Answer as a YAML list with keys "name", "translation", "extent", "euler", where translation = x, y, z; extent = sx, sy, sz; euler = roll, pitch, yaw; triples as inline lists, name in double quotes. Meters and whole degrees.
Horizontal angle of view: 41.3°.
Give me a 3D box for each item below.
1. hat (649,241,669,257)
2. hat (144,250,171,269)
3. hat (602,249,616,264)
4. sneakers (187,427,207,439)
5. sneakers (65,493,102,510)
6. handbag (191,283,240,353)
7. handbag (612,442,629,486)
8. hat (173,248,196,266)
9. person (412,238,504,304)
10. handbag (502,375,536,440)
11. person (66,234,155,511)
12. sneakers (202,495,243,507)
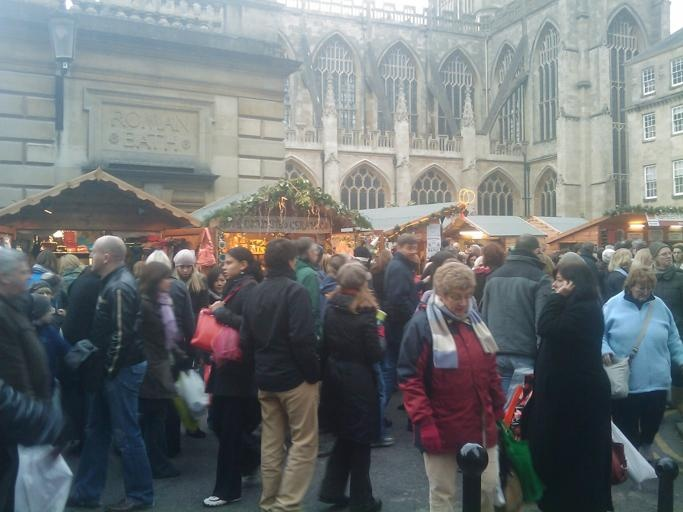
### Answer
- name: "hat"
  translation: [4.802, -0.107, 13.773]
  extent: [0.189, 0.223, 0.252]
  euler: [-9, -4, -42]
- name: "hat"
  translation: [-2.561, 0.027, 12.596]
  extent: [0.281, 0.268, 0.291]
  euler: [0, 1, 33]
- name: "hat"
  translation: [4.721, -0.026, 16.136]
  extent: [0.265, 0.326, 0.373]
  euler: [3, 9, 12]
- name: "sneakers"
  translation: [-2.154, 2.636, 13.444]
  extent: [0.317, 0.140, 0.172]
  euler: [-2, -3, 17]
- name: "sneakers"
  translation: [-3.267, 3.131, 11.564]
  extent: [0.454, 0.203, 0.157]
  euler: [1, 0, -7]
- name: "handbag"
  translation: [-1.785, 0.798, 11.993]
  extent: [0.220, 0.799, 0.603]
  euler: [33, -21, 3]
- name: "handbag"
  translation: [3.384, 2.513, 11.080]
  extent: [0.147, 0.528, 0.387]
  euler: [-2, 0, 22]
- name: "hat"
  translation: [-2.361, 0.023, 13.578]
  extent: [0.221, 0.185, 0.319]
  euler: [1, -7, -19]
- name: "person"
  translation: [1.706, 0.223, 13.509]
  extent: [0.904, 0.725, 2.088]
  euler: [9, -13, -15]
- name: "handbag"
  translation: [2.217, 1.900, 11.304]
  extent: [0.262, 0.762, 0.566]
  euler: [8, -11, -6]
- name: "person"
  translation: [-2.905, 1.482, 11.478]
  extent: [0.935, 3.383, 0.472]
  euler: [-2, 0, -6]
- name: "sneakers"
  translation: [-1.564, 3.118, 11.614]
  extent: [0.406, 0.128, 0.163]
  euler: [10, -15, -20]
